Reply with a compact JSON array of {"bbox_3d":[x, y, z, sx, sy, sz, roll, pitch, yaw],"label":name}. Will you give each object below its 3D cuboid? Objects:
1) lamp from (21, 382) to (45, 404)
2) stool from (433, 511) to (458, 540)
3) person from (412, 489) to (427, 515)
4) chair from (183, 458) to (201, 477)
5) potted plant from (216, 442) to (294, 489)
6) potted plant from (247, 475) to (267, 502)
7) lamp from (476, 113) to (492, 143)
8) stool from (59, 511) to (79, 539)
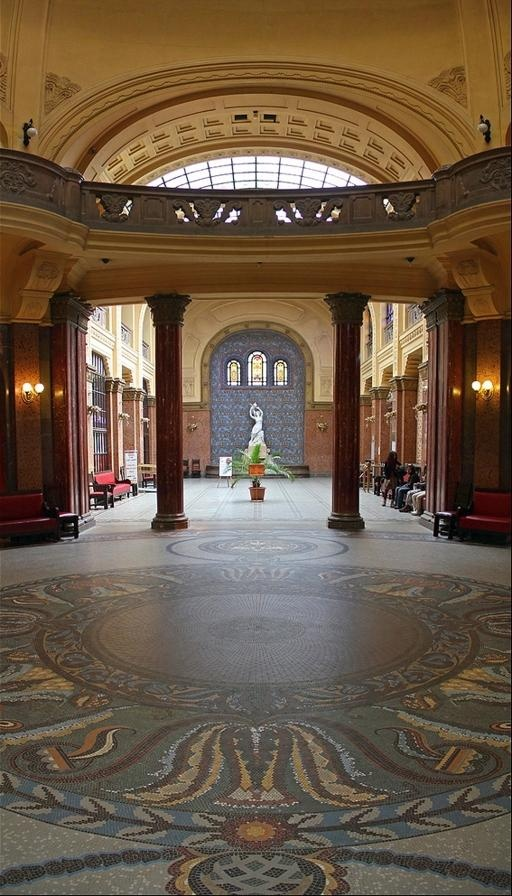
[{"bbox_3d":[-4.041,-0.992,10.358,0.318,0.374,0.249,1,-1,-42],"label":"lamp"},{"bbox_3d":[3.334,1.351,10.114,0.402,0.585,0.432,1,-2,2],"label":"stool"},{"bbox_3d":[3.771,1.287,13.406,0.222,0.561,0.773,0,-1,5],"label":"person"},{"bbox_3d":[-3.195,1.032,28.752,0.919,1.046,0.778,0,0,-6],"label":"chair"},{"bbox_3d":[-0.055,0.613,19.459,1.916,1.459,2.055,0,-3,3],"label":"potted plant"},{"bbox_3d":[-0.032,1.206,17.270,0.585,1.095,0.640,1,1,10],"label":"potted plant"},{"bbox_3d":[4.255,-6.047,10.723,0.227,0.488,0.630,-1,-1,24],"label":"lamp"},{"bbox_3d":[-3.365,1.403,10.325,0.327,0.436,0.505,0,-1,-21],"label":"stool"}]
